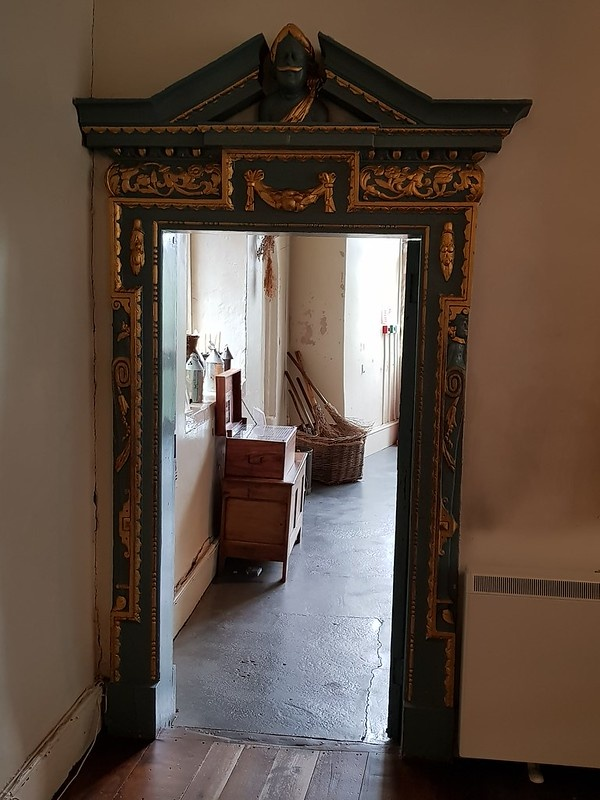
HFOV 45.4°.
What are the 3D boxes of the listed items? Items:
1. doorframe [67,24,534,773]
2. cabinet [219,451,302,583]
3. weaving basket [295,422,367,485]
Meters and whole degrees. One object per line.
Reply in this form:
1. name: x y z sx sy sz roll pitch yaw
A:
1. doorframe: -0.039 0.048 2.457 1.402 2.421 0.211 2 7 5
2. cabinet: -0.222 0.687 4.451 0.535 0.648 1.015 0 9 2
3. weaving basket: 0.277 0.536 6.873 0.623 0.400 0.530 0 -3 39
